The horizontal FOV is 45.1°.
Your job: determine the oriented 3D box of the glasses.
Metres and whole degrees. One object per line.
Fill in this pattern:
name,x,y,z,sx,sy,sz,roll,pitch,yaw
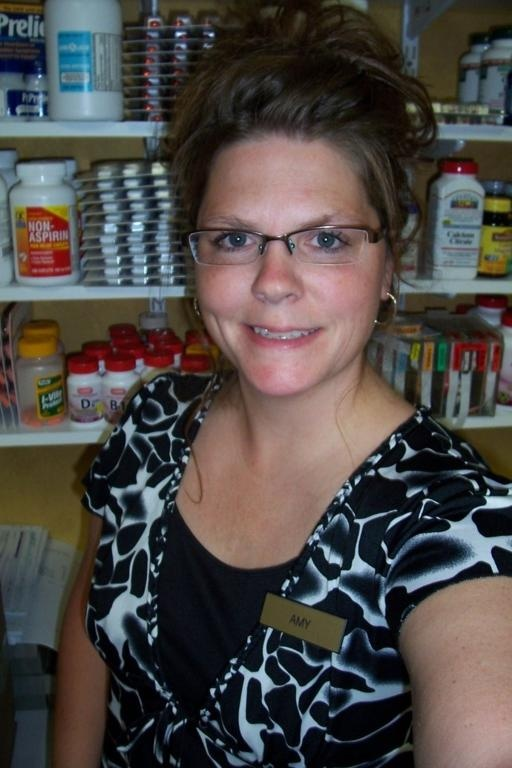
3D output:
glasses,0.018,-0.164,0.733,0.247,0.055,0.088,7,21,18
